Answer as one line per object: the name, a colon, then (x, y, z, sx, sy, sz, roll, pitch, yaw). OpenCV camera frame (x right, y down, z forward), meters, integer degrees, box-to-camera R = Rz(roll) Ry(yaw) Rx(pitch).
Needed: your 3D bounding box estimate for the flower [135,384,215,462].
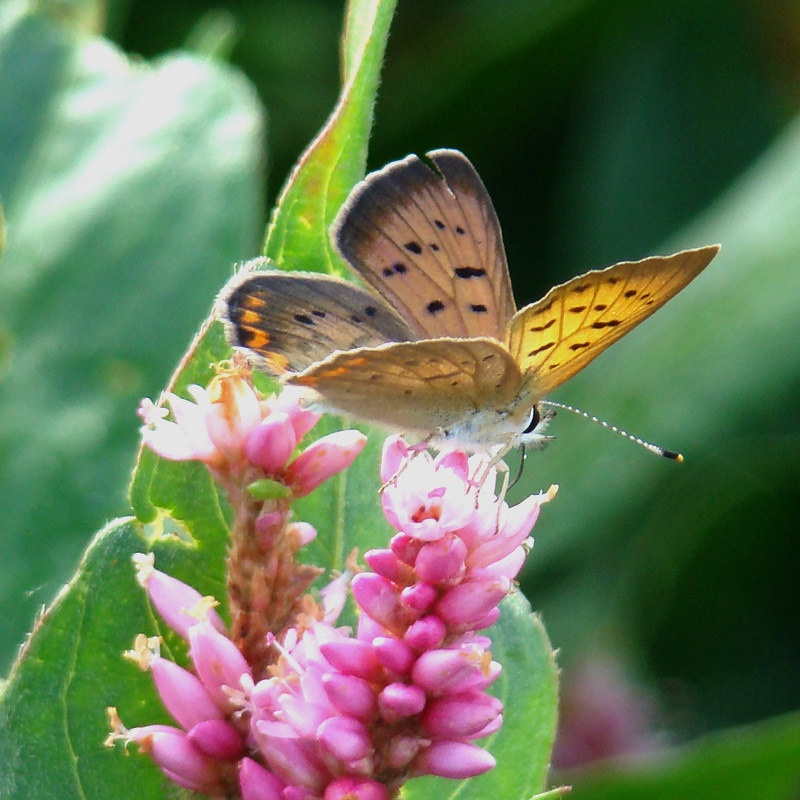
flower: (-0.407, 0.043, 2.220, 0.136, 0.165, 0.187, 1, 34, -12)
